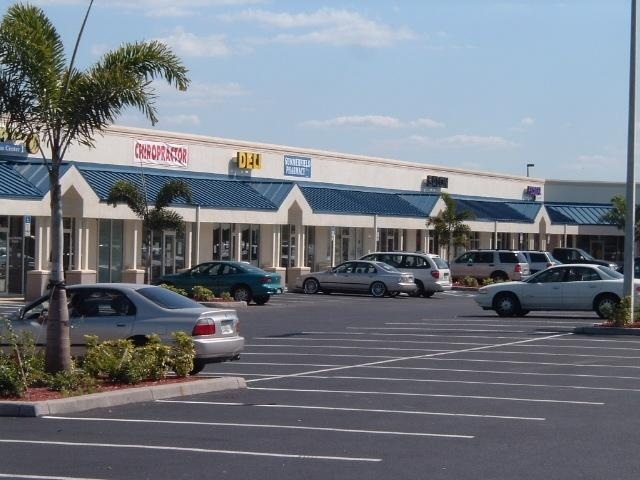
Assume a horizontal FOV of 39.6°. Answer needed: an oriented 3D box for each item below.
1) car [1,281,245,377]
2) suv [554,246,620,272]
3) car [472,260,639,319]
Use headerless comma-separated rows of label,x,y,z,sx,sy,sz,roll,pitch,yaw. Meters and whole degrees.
car,-3.114,1.544,16.461,3.170,1.469,0.821,-1,-5,10
suv,15.135,1.043,50.548,3.450,1.458,1.582,0,0,12
car,7.304,1.311,27.755,4.822,1.454,1.983,1,-1,21
